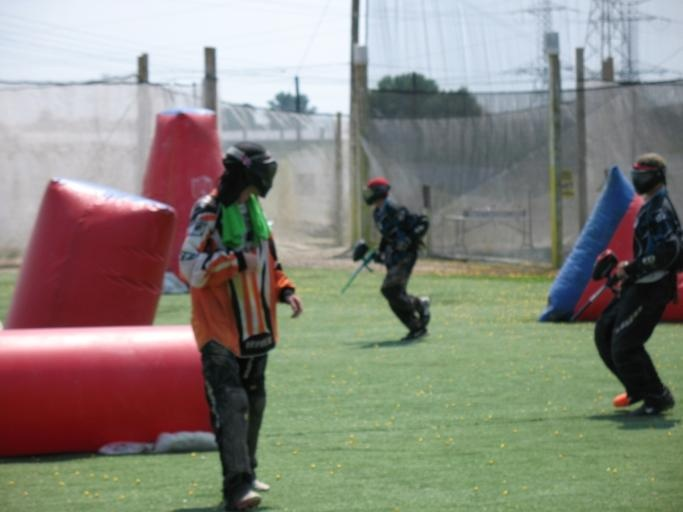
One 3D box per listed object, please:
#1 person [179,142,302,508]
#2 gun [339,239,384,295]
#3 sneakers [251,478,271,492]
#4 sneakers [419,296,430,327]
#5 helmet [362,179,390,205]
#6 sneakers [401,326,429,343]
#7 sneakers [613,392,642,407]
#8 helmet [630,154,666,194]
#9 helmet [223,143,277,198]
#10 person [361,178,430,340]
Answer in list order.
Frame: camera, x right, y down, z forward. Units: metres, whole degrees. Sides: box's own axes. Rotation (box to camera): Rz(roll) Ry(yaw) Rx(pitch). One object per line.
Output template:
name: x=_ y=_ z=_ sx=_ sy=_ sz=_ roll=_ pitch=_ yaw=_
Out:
person: x=-0.932 y=0.575 z=11.121 sx=0.741 sy=2.870 sz=0.893 roll=0 pitch=10 yaw=5
gun: x=0.322 y=0.237 z=21.054 sx=0.248 sy=0.460 sz=1.171 roll=-16 pitch=20 yaw=32
sneakers: x=-0.665 y=1.928 z=11.310 sx=0.184 sy=0.130 sz=0.062 roll=1 pitch=6 yaw=3
sneakers: x=0.961 y=0.661 z=15.859 sx=0.099 sy=0.341 sz=0.100 roll=14 pitch=-31 yaw=-23
helmet: x=0.413 y=-0.720 z=15.966 sx=0.296 sy=0.302 sz=0.276 roll=5 pitch=8 yaw=10
sneakers: x=0.816 y=0.903 z=15.730 sx=0.216 sy=0.150 sz=0.425 roll=4 pitch=11 yaw=24
sneakers: x=2.642 y=1.380 z=12.661 sx=0.119 sy=0.099 sz=0.224 roll=-9 pitch=-10 yaw=-44
helmet: x=2.914 y=-0.753 z=12.904 sx=0.348 sy=0.421 sz=0.328 roll=4 pitch=1 yaw=1
helmet: x=-0.752 y=-0.718 z=11.386 sx=0.449 sy=0.465 sz=0.380 roll=-6 pitch=11 yaw=-8
person: x=0.641 y=0.053 z=15.881 sx=0.759 sy=1.820 sz=0.805 roll=0 pitch=10 yaw=1
